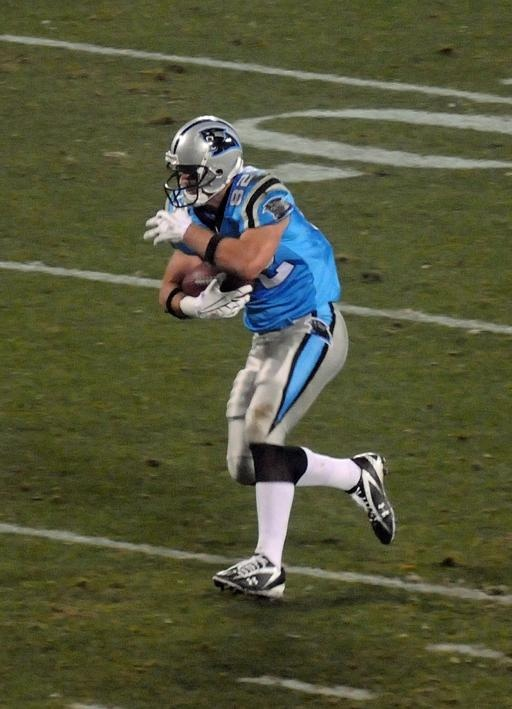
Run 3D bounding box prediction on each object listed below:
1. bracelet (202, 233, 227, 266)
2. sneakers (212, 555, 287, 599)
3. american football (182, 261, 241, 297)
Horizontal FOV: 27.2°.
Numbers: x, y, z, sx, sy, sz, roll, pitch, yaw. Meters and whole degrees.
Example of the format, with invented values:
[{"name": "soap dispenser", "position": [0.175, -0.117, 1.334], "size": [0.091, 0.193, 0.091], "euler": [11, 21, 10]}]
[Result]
[{"name": "bracelet", "position": [-0.135, -0.341, 3.387], "size": [0.043, 0.086, 0.086], "euler": [18, 2, 5]}, {"name": "sneakers", "position": [-0.004, 0.665, 3.168], "size": [0.296, 0.110, 0.092], "euler": [11, -5, -16]}, {"name": "american football", "position": [-0.151, -0.244, 3.519], "size": [0.236, 0.060, 0.084], "euler": [7, 45, 38]}]
